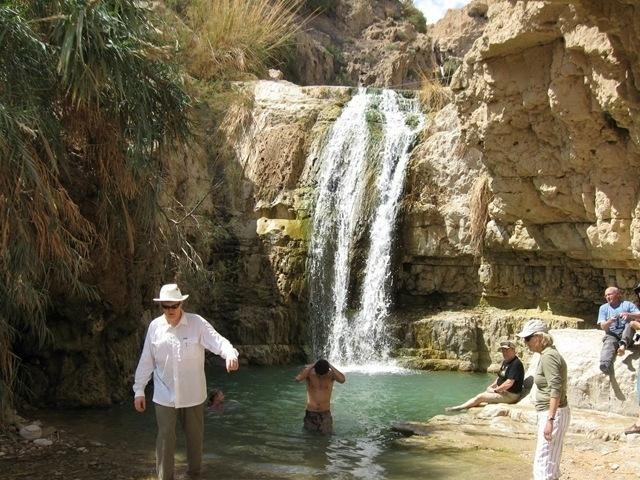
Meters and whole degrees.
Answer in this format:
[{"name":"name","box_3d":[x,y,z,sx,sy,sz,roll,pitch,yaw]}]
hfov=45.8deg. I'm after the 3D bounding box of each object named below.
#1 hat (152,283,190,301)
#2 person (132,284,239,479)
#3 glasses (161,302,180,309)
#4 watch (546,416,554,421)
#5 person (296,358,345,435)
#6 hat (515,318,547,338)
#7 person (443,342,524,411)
[{"name":"hat","box_3d":[-1.673,0.618,8.621,0.387,0.166,0.441,0,-6,-4]},{"name":"person","box_3d":[-1.531,1.626,8.423,1.037,2.217,0.553,0,3,-12]},{"name":"glasses","box_3d":[-1.671,0.745,8.450,0.199,0.068,0.132,0,2,-7]},{"name":"watch","box_3d":[2.420,1.882,7.956,0.024,0.037,0.051,-26,-25,30]},{"name":"person","box_3d":[0.001,2.259,10.911,0.658,1.032,0.424,0,3,-2]},{"name":"hat","box_3d":[2.330,0.982,8.342,0.295,0.159,0.213,-1,-5,3]},{"name":"person","box_3d":[2.536,2.138,11.841,1.295,0.980,0.648,-7,0,-4]}]
